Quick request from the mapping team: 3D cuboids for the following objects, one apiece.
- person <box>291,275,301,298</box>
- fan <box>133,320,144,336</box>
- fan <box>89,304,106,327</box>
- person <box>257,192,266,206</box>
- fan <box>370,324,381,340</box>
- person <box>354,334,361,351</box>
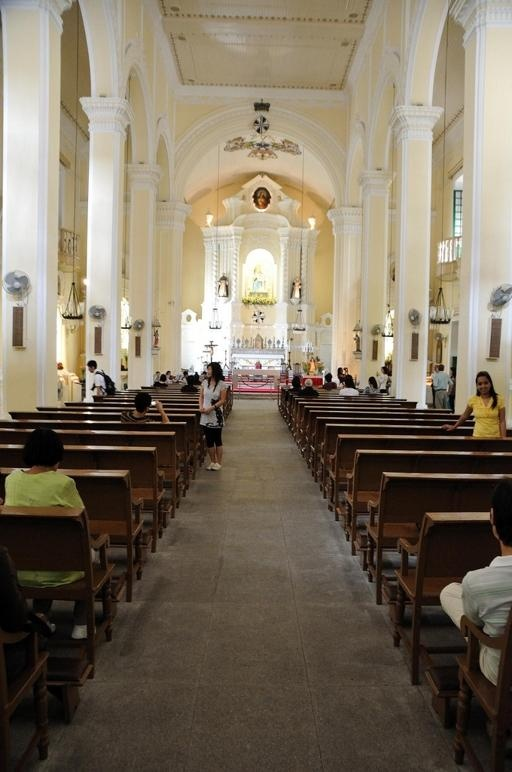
[{"bbox_3d":[2.038,-4.865,28.869,0.608,1.023,0.419,1,0,-9],"label":"person"},{"bbox_3d":[-2.796,-1.410,13.654,0.249,0.303,0.069,14,4,9],"label":"fan"},{"bbox_3d":[-2.873,-1.275,10.343,0.245,0.371,0.287,0,-12,-3],"label":"fan"},{"bbox_3d":[0.253,-9.472,28.879,0.471,1.000,0.282,1,8,3],"label":"person"},{"bbox_3d":[3.090,-1.396,14.696,0.247,0.345,0.108,1,0,13],"label":"fan"},{"bbox_3d":[3.094,-1.290,17.418,0.147,0.531,0.704,1,0,13],"label":"person"}]
